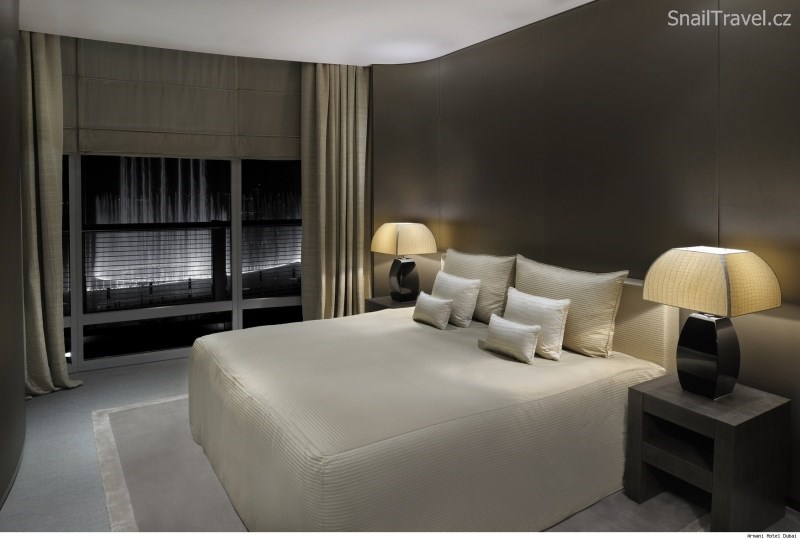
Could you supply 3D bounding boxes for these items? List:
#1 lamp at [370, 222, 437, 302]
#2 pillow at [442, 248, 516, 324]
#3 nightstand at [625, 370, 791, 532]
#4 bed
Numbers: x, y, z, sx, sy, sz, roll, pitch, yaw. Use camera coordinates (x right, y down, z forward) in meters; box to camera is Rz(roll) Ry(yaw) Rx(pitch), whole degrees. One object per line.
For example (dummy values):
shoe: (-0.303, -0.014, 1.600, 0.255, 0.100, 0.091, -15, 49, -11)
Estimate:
lamp: (0.041, -0.097, 5.583, 0.761, 1.131, 0.767, 0, 3, 0)
pillow: (0.666, 0.161, 4.216, 0.234, 0.509, 0.627, -6, 4, -34)
nightstand: (1.867, 0.932, 3.260, 0.779, 1.012, 1.026, 1, 1, -27)
bed: (0.210, 0.854, 3.198, 2.108, 1.007, 2.044, 1, 1, -30)
